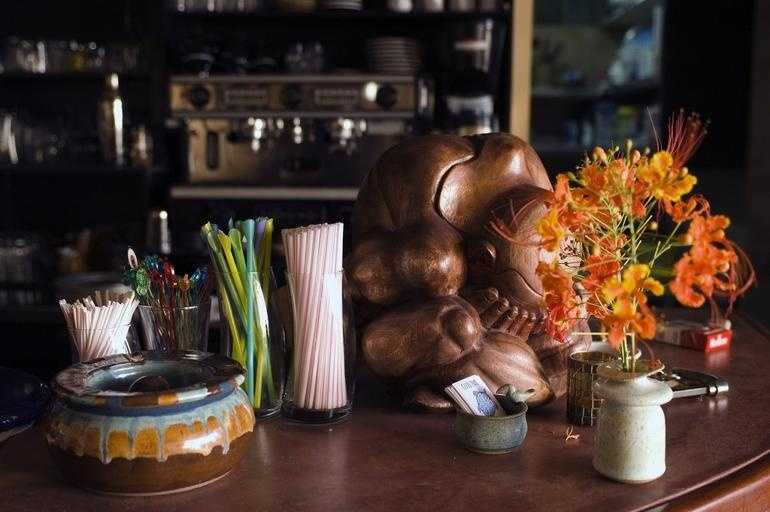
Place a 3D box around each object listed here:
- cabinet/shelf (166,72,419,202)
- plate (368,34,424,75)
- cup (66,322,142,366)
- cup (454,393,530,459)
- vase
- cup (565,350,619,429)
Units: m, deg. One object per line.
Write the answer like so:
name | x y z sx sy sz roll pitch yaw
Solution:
cabinet/shelf | -0.471 -0.632 4.225 0.929 0.487 0.638 0 -2 0
plate | 0.044 -0.953 4.065 0.187 0.128 0.213 -1 4 -16
cup | -0.691 0.201 2.098 0.114 0.134 0.121 0 2 0
cup | 0.243 0.386 1.942 0.131 0.075 0.121 2 -3 0
vase | 0.558 0.369 1.928 0.163 0.259 0.167 -6 6 -21
cup | 0.476 0.312 2.034 0.145 0.176 0.159 0 2 0
